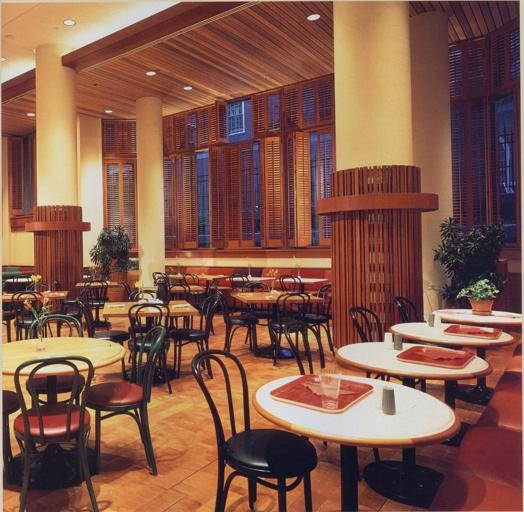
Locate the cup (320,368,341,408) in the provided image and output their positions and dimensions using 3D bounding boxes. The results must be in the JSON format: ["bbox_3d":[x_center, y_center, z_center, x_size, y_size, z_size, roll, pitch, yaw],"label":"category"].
[{"bbox_3d":[0.284,0.596,2.179,0.117,0.178,0.123,-1,0,0],"label":"cup"}]

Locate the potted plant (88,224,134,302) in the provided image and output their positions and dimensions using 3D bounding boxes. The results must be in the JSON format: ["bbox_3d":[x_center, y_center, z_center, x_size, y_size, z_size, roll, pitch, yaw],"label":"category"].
[{"bbox_3d":[-3.438,0.134,10.966,0.930,1.658,1.173,1,-1,20],"label":"potted plant"}]

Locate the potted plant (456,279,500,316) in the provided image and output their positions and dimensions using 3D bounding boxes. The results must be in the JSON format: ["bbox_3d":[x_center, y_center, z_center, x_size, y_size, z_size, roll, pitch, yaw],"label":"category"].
[{"bbox_3d":[2.041,0.352,4.467,0.285,0.327,0.325,26,-26,-36],"label":"potted plant"}]

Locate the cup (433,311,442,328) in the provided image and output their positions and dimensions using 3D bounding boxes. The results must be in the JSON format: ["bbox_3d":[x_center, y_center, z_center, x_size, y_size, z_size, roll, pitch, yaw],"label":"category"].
[{"bbox_3d":[1.418,0.507,3.876,0.073,0.124,0.121,0,-4,4],"label":"cup"}]
